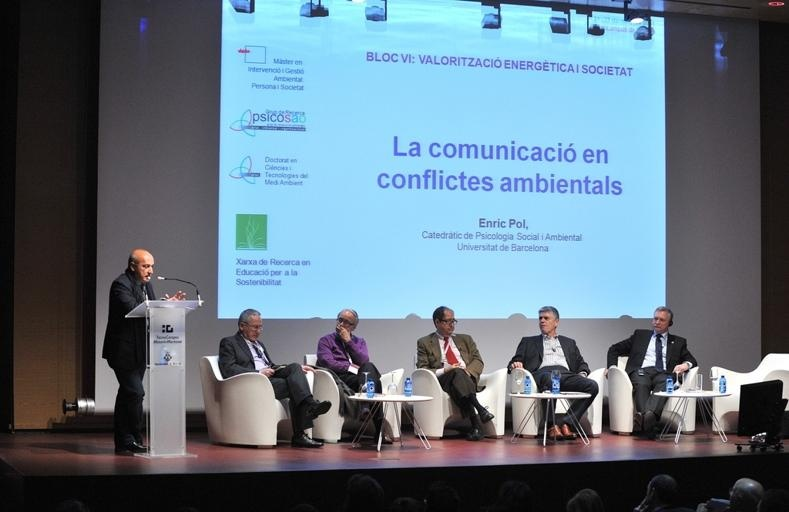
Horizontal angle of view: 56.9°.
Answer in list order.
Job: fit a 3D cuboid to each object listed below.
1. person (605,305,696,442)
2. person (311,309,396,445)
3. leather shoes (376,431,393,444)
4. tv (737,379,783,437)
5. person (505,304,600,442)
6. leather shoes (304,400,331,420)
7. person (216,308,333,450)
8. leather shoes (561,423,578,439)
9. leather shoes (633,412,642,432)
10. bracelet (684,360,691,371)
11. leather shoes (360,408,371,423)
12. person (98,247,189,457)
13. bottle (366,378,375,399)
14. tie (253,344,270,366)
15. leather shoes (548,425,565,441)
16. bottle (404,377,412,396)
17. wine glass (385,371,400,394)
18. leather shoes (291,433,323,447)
[{"bbox_3d":[2.964,1.243,8.340,0.942,1.737,1.422,8,-14,17],"label":"person"},{"bbox_3d":[-0.452,1.294,8.148,0.546,1.624,0.937,17,-36,-33],"label":"person"},{"bbox_3d":[-0.094,1.918,7.741,0.167,0.071,0.232,0,-18,-2],"label":"leather shoes"},{"bbox_3d":[3.704,1.542,7.367,0.540,0.597,0.204,4,-8,-9],"label":"tv"},{"bbox_3d":[1.821,1.308,8.401,0.921,1.609,0.941,-6,-21,17],"label":"person"},{"bbox_3d":[-0.780,1.557,7.499,0.121,0.158,0.350,21,-44,-39],"label":"leather shoes"},{"bbox_3d":[-1.253,1.261,7.641,1.120,1.402,0.734,-2,-3,33],"label":"person"},{"bbox_3d":[1.925,1.950,8.086,0.083,0.118,0.287,2,-17,-10],"label":"leather shoes"},{"bbox_3d":[2.778,1.889,8.334,0.094,0.308,0.117,3,23,21],"label":"leather shoes"},{"bbox_3d":[3.374,1.252,8.397,0.072,0.110,0.038,-2,-7,-18],"label":"bracelet"},{"bbox_3d":[-0.298,1.701,7.819,0.102,0.135,0.148,1,-27,4],"label":"leather shoes"},{"bbox_3d":[-2.592,0.916,7.120,0.477,1.968,0.709,1,-3,-22],"label":"person"},{"bbox_3d":[-0.244,1.333,7.438,0.087,0.173,0.269,0,-3,-2],"label":"bottle"},{"bbox_3d":[-1.453,1.057,7.936,0.168,0.238,0.079,-6,-23,-41],"label":"tie"},{"bbox_3d":[1.784,1.959,8.063,0.098,0.101,0.218,0,-19,-4],"label":"leather shoes"},{"bbox_3d":[0.142,1.372,7.726,0.075,0.183,0.261,0,-3,-5],"label":"bottle"},{"bbox_3d":[0.024,1.374,8.100,0.156,0.216,0.200,-1,-9,16],"label":"wine glass"},{"bbox_3d":[-0.914,1.888,7.521,0.351,0.134,0.119,-2,-3,27],"label":"leather shoes"}]
